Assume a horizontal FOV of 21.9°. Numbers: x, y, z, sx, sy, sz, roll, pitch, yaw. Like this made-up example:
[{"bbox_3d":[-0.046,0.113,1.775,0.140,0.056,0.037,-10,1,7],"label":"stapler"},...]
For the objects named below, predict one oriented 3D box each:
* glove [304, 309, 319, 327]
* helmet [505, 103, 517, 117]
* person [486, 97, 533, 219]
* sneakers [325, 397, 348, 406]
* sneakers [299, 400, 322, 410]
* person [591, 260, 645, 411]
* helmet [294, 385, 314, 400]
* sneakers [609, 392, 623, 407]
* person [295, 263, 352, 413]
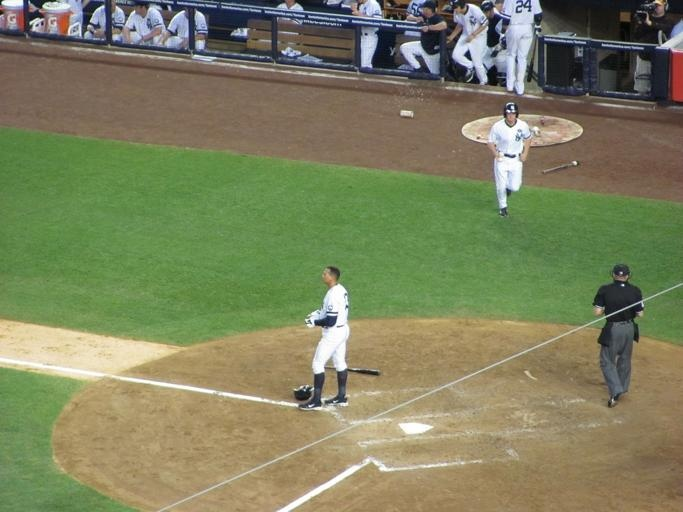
[{"bbox_3d":[-0.476,1.100,30.102,0.342,0.127,0.253,-32,16,5],"label":"glove"},{"bbox_3d":[3.323,-2.856,34.460,0.230,0.223,0.289,0,10,-2],"label":"helmet"},{"bbox_3d":[3.274,-1.893,34.879,0.797,2.234,0.758,4,12,3],"label":"person"},{"bbox_3d":[-0.108,2.498,30.269,0.409,0.174,0.140,3,9,0],"label":"sneakers"},{"bbox_3d":[-0.553,2.537,30.164,0.428,0.172,0.147,2,10,0],"label":"sneakers"},{"bbox_3d":[4.657,1.347,30.025,0.735,2.379,0.656,10,13,30],"label":"person"},{"bbox_3d":[-0.670,2.346,30.264,0.230,0.173,0.278,-8,26,-25],"label":"helmet"},{"bbox_3d":[4.648,2.429,29.930,0.072,0.206,0.208,31,-9,31],"label":"sneakers"},{"bbox_3d":[-0.252,1.413,30.070,0.809,2.405,0.499,2,12,-7],"label":"person"}]
